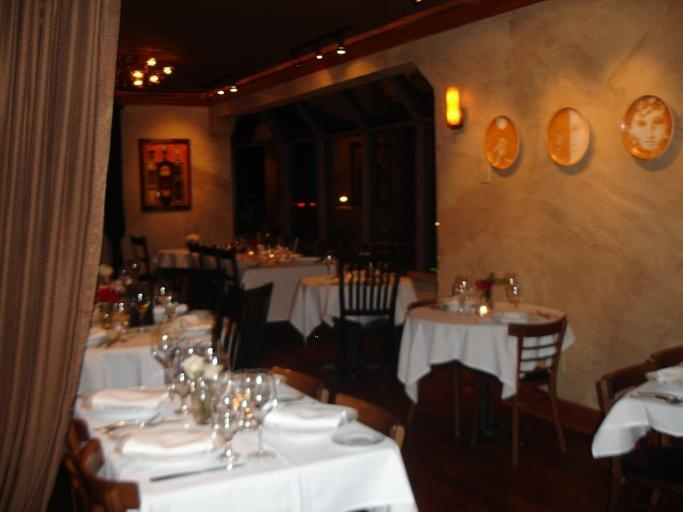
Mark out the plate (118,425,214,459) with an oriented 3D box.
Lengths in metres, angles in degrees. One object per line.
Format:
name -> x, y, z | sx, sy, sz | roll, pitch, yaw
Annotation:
plate -> -0.596, 0.625, 1.897 | 0.317, 0.051, 0.262 | -3, 8, -17

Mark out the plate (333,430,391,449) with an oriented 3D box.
plate -> 0.057, 0.639, 1.926 | 0.184, 0.012, 0.113 | -1, 7, 1

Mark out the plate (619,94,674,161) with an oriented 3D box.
plate -> 2.101, -0.887, 3.826 | 0.078, 0.394, 0.295 | -5, 15, -34

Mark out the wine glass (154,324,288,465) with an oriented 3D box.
wine glass -> -0.462, 0.479, 2.032 | 0.220, 0.253, 0.611 | -1, -1, -28

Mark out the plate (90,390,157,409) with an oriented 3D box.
plate -> -0.833, 0.558, 2.157 | 0.134, 0.034, 0.129 | -1, -5, -15

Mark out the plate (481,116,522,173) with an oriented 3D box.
plate -> 1.389, -0.980, 4.835 | 0.093, 0.484, 0.375 | -5, 9, -24
